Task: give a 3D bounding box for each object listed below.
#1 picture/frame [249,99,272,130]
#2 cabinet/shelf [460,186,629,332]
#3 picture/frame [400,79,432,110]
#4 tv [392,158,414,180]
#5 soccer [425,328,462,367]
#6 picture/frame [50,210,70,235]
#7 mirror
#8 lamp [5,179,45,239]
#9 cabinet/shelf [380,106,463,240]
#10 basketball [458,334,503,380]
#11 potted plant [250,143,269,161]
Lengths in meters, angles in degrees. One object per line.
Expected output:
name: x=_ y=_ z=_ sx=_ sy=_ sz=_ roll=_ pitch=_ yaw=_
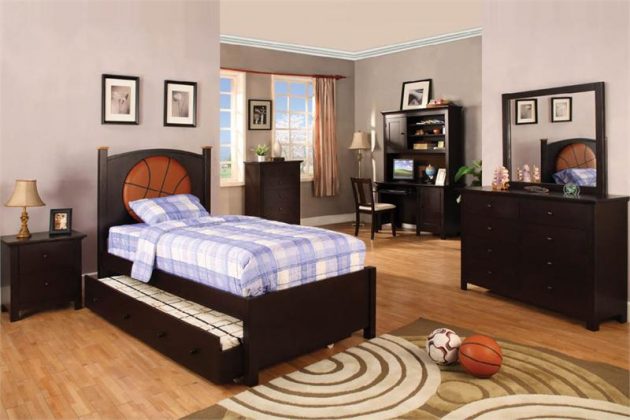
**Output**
picture/frame: x=-0.988 y=-1.694 z=7.837 sx=0.593 sy=0.664 sz=0.068 roll=-2 pitch=10 yaw=-40
cabinet/shelf: x=2.273 y=0.478 z=4.248 sx=0.490 sy=0.954 sz=1.342 roll=-1 pitch=4 yaw=-30
picture/frame: x=1.859 y=-2.092 z=8.017 sx=0.725 sy=0.659 sz=0.050 roll=4 pitch=-3 yaw=41
tv: x=1.640 y=-0.750 z=8.110 sx=0.419 sy=0.397 sz=0.150 roll=4 pitch=1 yaw=33
soccer: x=1.001 y=1.058 z=3.447 sx=0.282 sy=0.265 sz=0.263 roll=8 pitch=1 yaw=5
picture/frame: x=-2.642 y=0.130 z=4.569 sx=0.263 sy=0.327 sz=0.039 roll=0 pitch=0 yaw=-37
mirror: x=2.517 y=-0.723 z=4.563 sx=0.079 sy=1.440 sz=1.321 roll=-3 pitch=3 yaw=-41
lamp: x=-2.932 y=-0.029 z=4.478 sx=0.305 sy=0.559 sz=0.514 roll=-8 pitch=15 yaw=-31
cabinet/shelf: x=1.951 y=-0.723 z=7.867 sx=0.766 sy=2.194 sz=1.489 roll=-11 pitch=16 yaw=-39
basketball: x=1.227 y=1.066 z=3.386 sx=0.323 sy=0.288 sz=0.297 roll=4 pitch=6 yaw=5
potted plant: x=-0.918 y=-1.008 z=7.698 sx=0.327 sy=0.287 sz=0.323 roll=-1 pitch=0 yaw=-38
